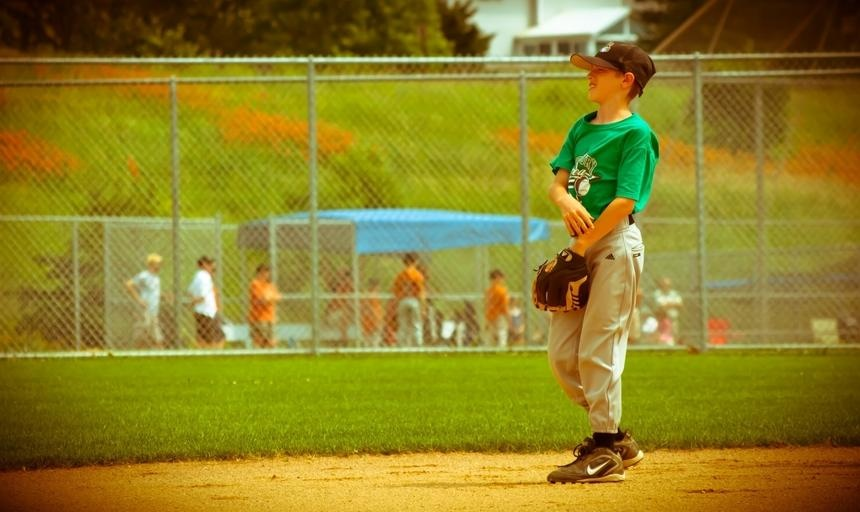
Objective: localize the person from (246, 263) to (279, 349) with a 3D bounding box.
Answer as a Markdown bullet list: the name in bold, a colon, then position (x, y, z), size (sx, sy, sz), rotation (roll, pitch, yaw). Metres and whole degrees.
- **person**: position (-2.338, 0.712, 19.028), size (0.436, 1.134, 0.192), rotation (0, -1, -3)

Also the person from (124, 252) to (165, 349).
- **person**: position (-4.003, 0.644, 18.949), size (0.493, 1.283, 0.234), rotation (-1, -1, 8)

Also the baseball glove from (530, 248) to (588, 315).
- **baseball glove**: position (1.469, 0.316, 15.210), size (0.578, 0.719, 0.343), rotation (4, -6, 45)

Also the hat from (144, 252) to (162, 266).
- **hat**: position (-3.901, 0.055, 19.056), size (0.187, 0.182, 0.145), rotation (-8, 11, -32)

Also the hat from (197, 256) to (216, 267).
- **hat**: position (-3.174, 0.093, 19.094), size (0.213, 0.159, 0.290), rotation (0, -2, -18)

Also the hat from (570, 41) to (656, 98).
- **hat**: position (2.057, -2.183, 15.449), size (0.836, 0.438, 0.551), rotation (16, -3, -7)

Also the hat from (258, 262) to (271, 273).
- **hat**: position (-2.336, 0.179, 19.015), size (0.142, 0.134, 0.034), rotation (-2, -4, -4)

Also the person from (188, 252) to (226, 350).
- **person**: position (-3.162, 0.664, 19.069), size (0.502, 1.243, 0.270), rotation (0, -2, -11)
